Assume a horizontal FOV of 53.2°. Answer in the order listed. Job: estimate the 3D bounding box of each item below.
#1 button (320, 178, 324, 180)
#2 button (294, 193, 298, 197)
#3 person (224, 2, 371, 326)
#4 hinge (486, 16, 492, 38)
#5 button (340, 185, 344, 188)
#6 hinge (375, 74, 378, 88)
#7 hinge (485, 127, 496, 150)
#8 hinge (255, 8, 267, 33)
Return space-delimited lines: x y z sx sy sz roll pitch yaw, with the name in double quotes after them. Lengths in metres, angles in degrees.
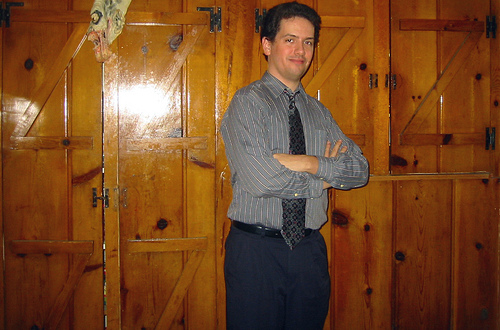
0.566 0.110 3.938 0.034 0.013 0.016 -3 12 -37 "button"
0.354 0.229 3.876 0.022 0.024 0.005 -1 4 -6 "button"
0.302 -0.019 4.053 1.061 2.582 0.550 4 7 -5 "person"
2.295 -1.336 4.795 0.060 0.205 0.030 3 7 -9 "hinge"
0.733 0.165 3.983 0.017 0.019 0.004 1 9 -14 "button"
1.198 -0.804 4.728 0.035 0.124 0.015 2 7 -17 "hinge"
2.319 -0.262 4.812 0.092 0.222 0.034 4 7 -5 "hinge"
0.095 -1.347 4.618 0.105 0.232 0.033 4 7 -2 "hinge"
